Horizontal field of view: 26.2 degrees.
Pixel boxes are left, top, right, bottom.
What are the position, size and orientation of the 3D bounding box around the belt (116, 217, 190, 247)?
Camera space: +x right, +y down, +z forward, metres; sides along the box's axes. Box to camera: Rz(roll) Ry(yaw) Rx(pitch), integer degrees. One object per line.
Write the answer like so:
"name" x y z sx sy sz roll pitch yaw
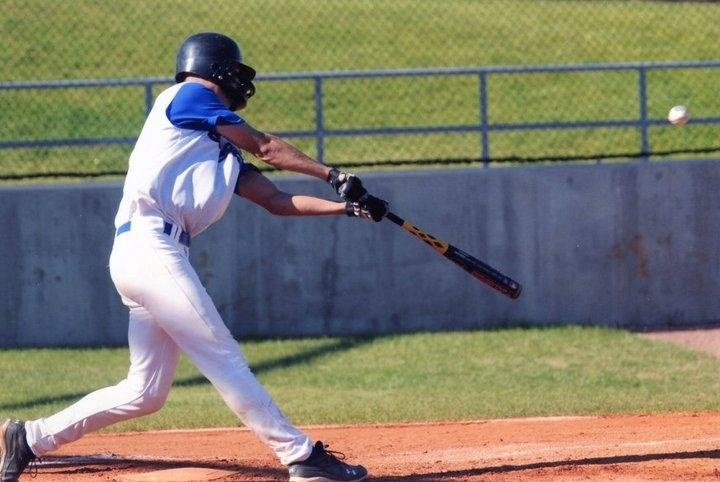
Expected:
"belt" -1.847 -0.081 13.873 0.653 0.249 0.166 -1 -7 -4
